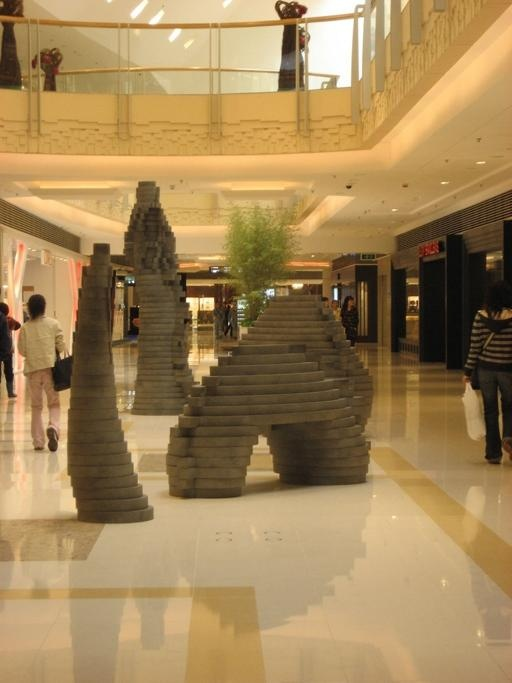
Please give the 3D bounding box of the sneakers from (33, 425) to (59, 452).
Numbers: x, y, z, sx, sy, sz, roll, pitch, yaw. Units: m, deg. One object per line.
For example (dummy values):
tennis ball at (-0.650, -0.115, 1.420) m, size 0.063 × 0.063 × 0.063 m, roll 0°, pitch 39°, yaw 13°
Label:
sneakers at (-2.133, 0.982, 5.935) m, size 0.227 × 0.271 × 0.324 m, roll -1°, pitch 6°, yaw -21°

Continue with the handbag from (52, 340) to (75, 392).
handbag at (-1.946, 0.340, 5.855) m, size 0.177 × 0.432 × 0.734 m, roll -1°, pitch 6°, yaw -20°
